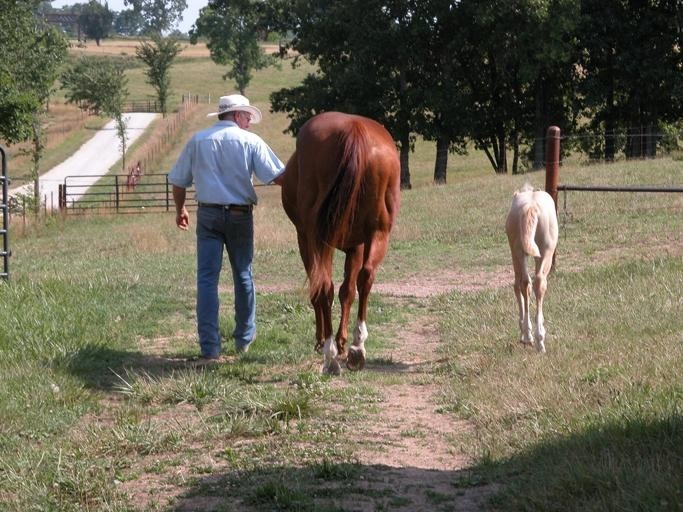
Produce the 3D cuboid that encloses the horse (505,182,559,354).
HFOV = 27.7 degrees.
[{"bbox_3d":[6.973,0.543,50.754,1.696,5.740,0.995,-2,3,5],"label":"horse"}]
